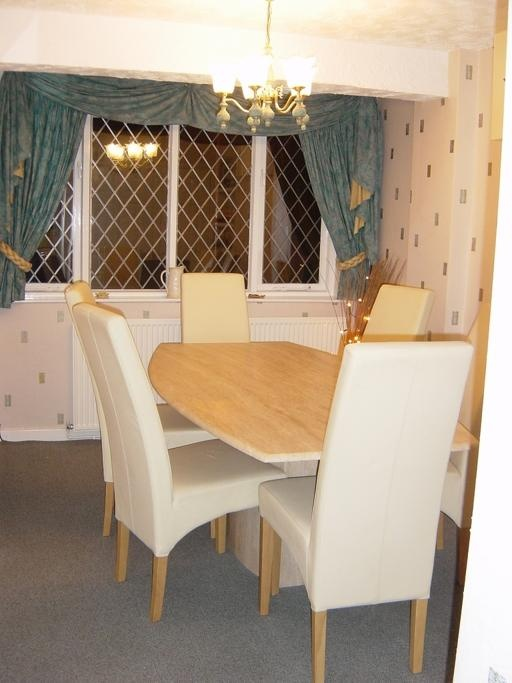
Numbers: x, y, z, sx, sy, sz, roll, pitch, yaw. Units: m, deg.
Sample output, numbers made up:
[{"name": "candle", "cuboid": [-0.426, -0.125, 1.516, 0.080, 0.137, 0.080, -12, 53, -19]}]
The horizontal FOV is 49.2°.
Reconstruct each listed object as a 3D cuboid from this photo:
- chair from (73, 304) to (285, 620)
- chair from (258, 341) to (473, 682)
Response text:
[{"name": "chair", "cuboid": [-0.301, 0.408, 1.994, 0.596, 1.068, 0.432, -2, 8, -32]}, {"name": "chair", "cuboid": [0.303, 0.483, 1.655, 0.425, 1.031, 0.562, 0, 7, -17]}]
